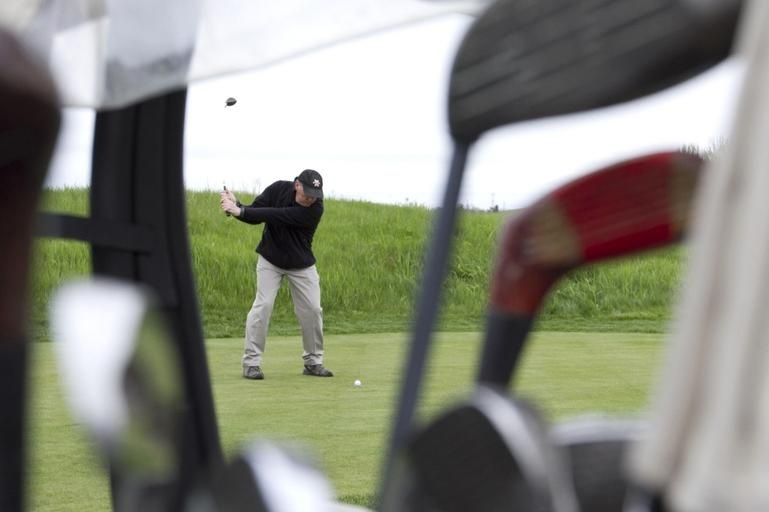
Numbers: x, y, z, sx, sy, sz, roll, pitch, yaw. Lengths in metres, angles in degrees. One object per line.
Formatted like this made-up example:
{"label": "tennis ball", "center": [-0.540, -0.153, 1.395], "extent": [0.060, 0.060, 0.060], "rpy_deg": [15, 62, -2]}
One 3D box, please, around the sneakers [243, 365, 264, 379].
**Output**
{"label": "sneakers", "center": [-0.375, 0.325, 2.782], "extent": [0.048, 0.046, 0.129], "rpy_deg": [4, -8, -5]}

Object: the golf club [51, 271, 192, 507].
{"label": "golf club", "center": [-0.420, 0.210, 1.648], "extent": [0.205, 0.339, 0.335], "rpy_deg": [-13, 4, 3]}
